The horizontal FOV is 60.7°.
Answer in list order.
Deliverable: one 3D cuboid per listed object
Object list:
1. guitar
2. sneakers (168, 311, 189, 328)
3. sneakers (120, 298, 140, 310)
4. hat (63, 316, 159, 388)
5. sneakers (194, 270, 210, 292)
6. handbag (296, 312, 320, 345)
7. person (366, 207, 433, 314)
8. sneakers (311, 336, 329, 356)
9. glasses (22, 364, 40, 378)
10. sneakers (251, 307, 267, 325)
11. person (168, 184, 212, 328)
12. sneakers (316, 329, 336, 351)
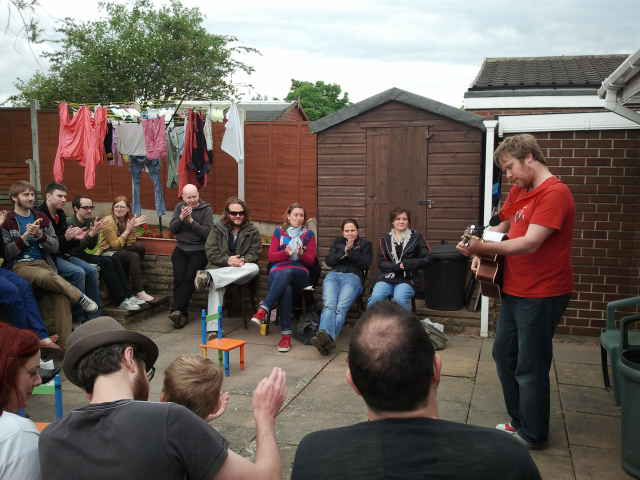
[{"bbox_3d":[1.440,0.130,4.697,0.187,0.383,0.720,16,18,-24],"label":"guitar"},{"bbox_3d":[-1.990,1.106,7.650,0.138,0.164,0.376,3,-30,-3],"label":"sneakers"},{"bbox_3d":[-2.751,0.937,7.888,0.268,0.120,0.130,1,4,4],"label":"sneakers"},{"bbox_3d":[-1.015,0.494,2.629,0.339,0.396,0.151,-31,54,-14],"label":"hat"},{"bbox_3d":[-1.630,0.560,7.437,0.113,0.267,0.218,-3,-10,25],"label":"sneakers"},{"bbox_3d":[-0.162,1.172,7.236,0.293,0.356,0.141,10,-9,-41],"label":"handbag"},{"bbox_3d":[1.043,0.249,7.080,0.709,1.271,0.818,4,6,11],"label":"person"},{"bbox_3d":[0.016,1.280,6.606,0.159,0.259,0.104,-14,12,32],"label":"sneakers"},{"bbox_3d":[-1.342,0.606,2.521,0.058,0.054,0.045,-15,-7,26],"label":"glasses"},{"bbox_3d":[-0.783,0.986,7.104,0.125,0.150,0.351,20,-6,9],"label":"sneakers"},{"bbox_3d":[-1.939,0.120,7.994,0.780,1.258,2.276,2,32,-9],"label":"person"},{"bbox_3d":[0.045,1.238,6.586,0.166,0.276,0.115,-8,22,12],"label":"sneakers"}]
